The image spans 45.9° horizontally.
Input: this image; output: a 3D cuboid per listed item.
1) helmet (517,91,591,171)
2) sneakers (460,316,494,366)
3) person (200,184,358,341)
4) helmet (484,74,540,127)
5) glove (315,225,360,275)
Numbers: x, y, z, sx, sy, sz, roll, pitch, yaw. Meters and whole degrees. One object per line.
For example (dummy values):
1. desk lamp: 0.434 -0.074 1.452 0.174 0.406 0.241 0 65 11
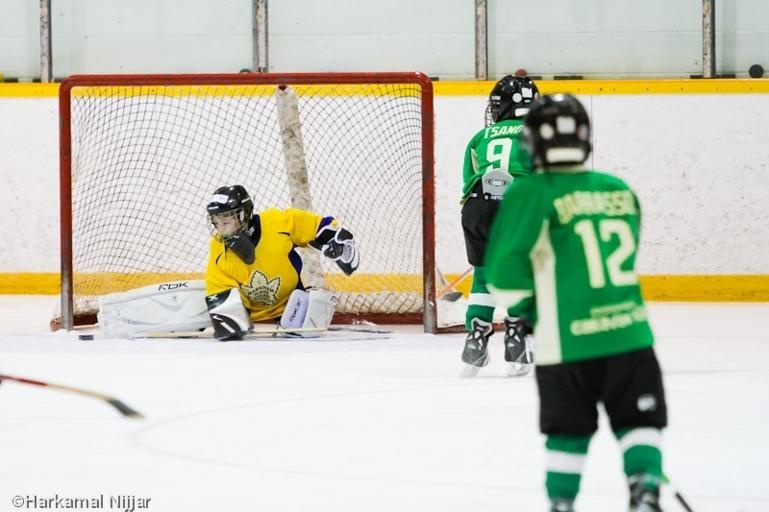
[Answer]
1. helmet: 0.707 -0.514 3.740 0.286 0.302 0.316 0 5 0
2. sneakers: 0.534 0.502 5.253 0.127 0.305 0.137 10 -15 14
3. person: -0.800 0.062 6.544 1.217 1.099 0.924 -14 24 -8
4. helmet: 0.780 -0.953 5.599 0.294 0.290 0.343 -4 0 -30
5. glove: -0.314 -0.057 6.460 0.228 0.354 0.142 -43 -7 23
